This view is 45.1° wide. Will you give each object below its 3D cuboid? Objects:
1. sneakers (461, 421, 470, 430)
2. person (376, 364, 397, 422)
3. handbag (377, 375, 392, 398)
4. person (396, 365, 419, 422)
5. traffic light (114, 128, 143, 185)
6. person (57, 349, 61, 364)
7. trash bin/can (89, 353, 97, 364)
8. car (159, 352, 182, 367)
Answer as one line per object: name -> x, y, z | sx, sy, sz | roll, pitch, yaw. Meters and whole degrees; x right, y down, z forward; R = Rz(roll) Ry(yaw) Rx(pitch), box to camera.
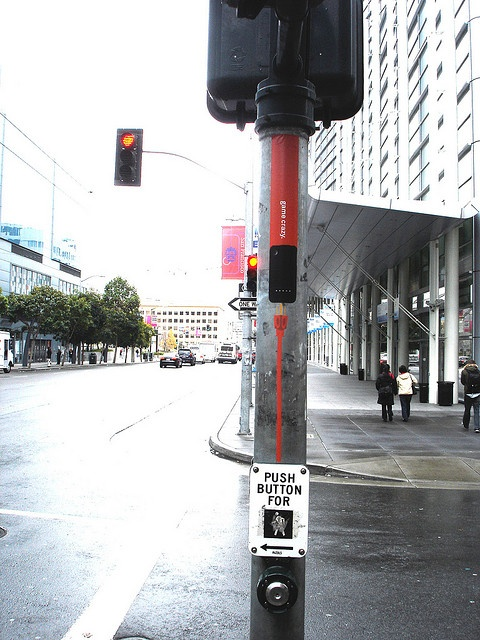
sneakers -> 5.273, 2.495, 13.514 | 0.071, 0.143, 0.284 | -4, -24, 4
person -> 3.944, 1.923, 15.632 | 0.509, 1.064, 1.372 | -2, -2, 14
handbag -> 3.856, 1.754, 15.378 | 0.300, 0.304, 0.558 | 2, 45, 11
person -> 4.622, 1.960, 16.039 | 0.478, 1.086, 2.270 | -2, -2, 17
traffic light -> -2.324, -3.395, 12.025 | 0.557, 1.261, 0.477 | -1, -1, -15
person -> -18.063, 3.658, 57.619 | 0.262, 1.488, 1.689 | -1, -2, -24
trash bin/can -> -17.498, 4.589, 68.625 | 0.484, 1.209, 2.160 | -1, -2, -5
car -> -6.669, 3.795, 55.043 | 1.898, 1.423, 2.521 | -2, -2, -9
